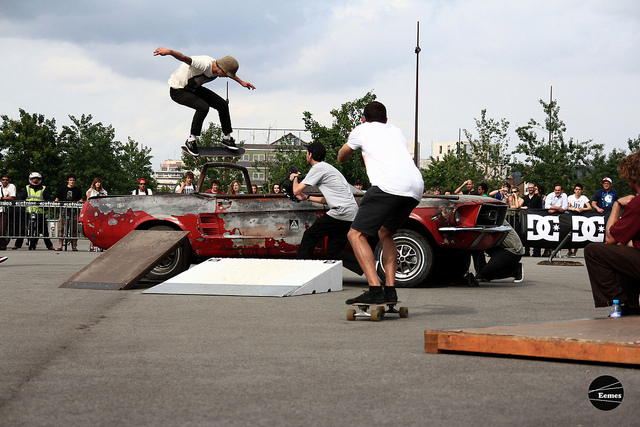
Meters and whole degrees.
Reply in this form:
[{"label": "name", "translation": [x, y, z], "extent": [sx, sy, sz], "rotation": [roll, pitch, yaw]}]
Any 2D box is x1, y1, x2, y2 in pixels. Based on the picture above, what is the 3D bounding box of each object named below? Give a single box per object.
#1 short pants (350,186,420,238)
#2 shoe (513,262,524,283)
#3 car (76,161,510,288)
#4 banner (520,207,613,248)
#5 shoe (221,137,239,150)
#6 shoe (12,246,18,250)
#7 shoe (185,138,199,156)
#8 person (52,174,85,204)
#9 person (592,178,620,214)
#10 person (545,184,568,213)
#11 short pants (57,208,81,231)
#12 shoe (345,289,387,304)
[{"label": "short pants", "translation": [0.729, -0.012, 7.001], "extent": [0.701, 0.560, 0.337], "rotation": [0, 2, -29]}, {"label": "shoe", "translation": [3.512, 1.045, 11.055], "extent": [0.163, 0.355, 0.479], "rotation": [1, 1, 14]}, {"label": "car", "translation": [-0.467, 0.199, 10.839], "extent": [5.559, 1.773, 2.990], "rotation": [-1, 1, 12]}, {"label": "banner", "translation": [6.754, 0.489, 17.305], "extent": [3.563, 1.181, 0.471], "rotation": [1, 3, -25]}, {"label": "shoe", "translation": [-1.725, -1.316, 11.947], "extent": [0.388, 0.186, 0.138], "rotation": [13, 10, 28]}, {"label": "shoe", "translation": [-9.288, 1.045, 18.973], "extent": [0.113, 0.085, 0.112], "rotation": [-9, -13, -24]}, {"label": "shoe", "translation": [-2.384, -1.214, 11.672], "extent": [0.198, 0.288, 0.343], "rotation": [1, 1, 7]}, {"label": "person", "translation": [-7.685, -0.700, 19.141], "extent": [0.986, 0.919, 0.525], "rotation": [3, 3, -27]}, {"label": "person", "translation": [8.174, -0.435, 17.739], "extent": [0.770, 1.125, 0.628], "rotation": [9, -17, 12]}, {"label": "person", "translation": [6.851, -0.395, 18.078], "extent": [0.597, 0.727, 0.900], "rotation": [2, 14, 26]}, {"label": "short pants", "translation": [-7.403, 0.170, 18.286], "extent": [0.503, 0.683, 0.631], "rotation": [-2, 2, -8]}, {"label": "shoe", "translation": [0.535, 0.925, 6.960], "extent": [0.494, 0.193, 0.169], "rotation": [1, -8, 8]}]
